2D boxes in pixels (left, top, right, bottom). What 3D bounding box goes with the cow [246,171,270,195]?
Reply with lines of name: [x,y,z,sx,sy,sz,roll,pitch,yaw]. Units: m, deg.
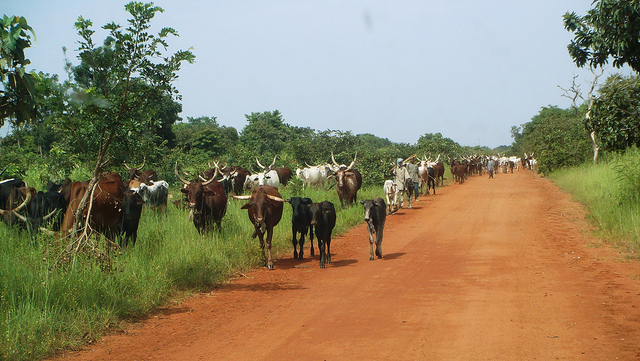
cow: [-3.564,0.068,27.608,1.284,1.923,2.663,-1,-2,-6]

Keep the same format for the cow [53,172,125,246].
cow: [-7.432,1.052,15.619,1.898,2.336,2.916,-5,7,-8]

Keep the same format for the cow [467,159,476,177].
cow: [15.885,-1.458,50.725,0.456,1.447,4.046,-1,7,22]

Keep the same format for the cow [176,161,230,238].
cow: [-4.297,0.836,18.525,1.070,2.415,2.631,-4,7,3]

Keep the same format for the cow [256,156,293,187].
cow: [-2.864,-0.369,33.381,1.209,1.854,2.615,-3,-5,32]
